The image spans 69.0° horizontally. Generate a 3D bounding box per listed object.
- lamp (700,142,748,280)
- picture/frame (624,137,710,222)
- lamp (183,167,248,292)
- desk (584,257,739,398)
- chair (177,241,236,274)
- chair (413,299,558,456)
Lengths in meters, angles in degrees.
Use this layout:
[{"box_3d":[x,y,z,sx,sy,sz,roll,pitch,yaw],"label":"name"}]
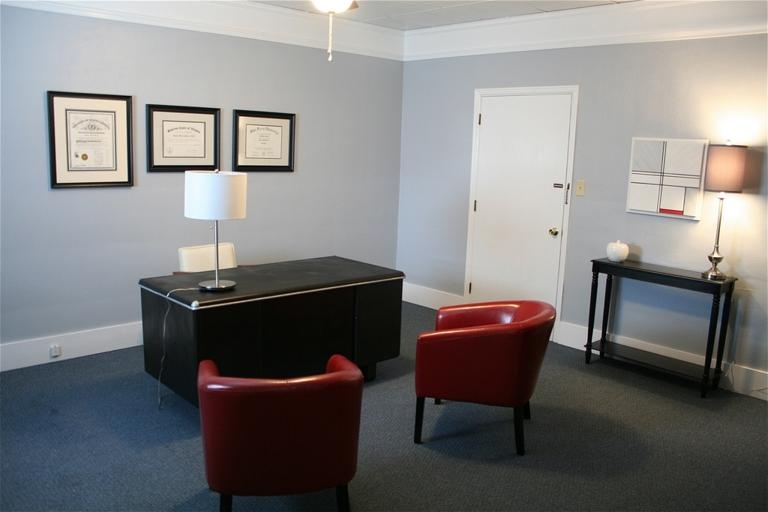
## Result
[{"box_3d":[2.925,-0.396,4.887,0.302,1.146,0.358,9,14,30],"label":"lamp"},{"box_3d":[2.613,-0.746,5.241,0.648,0.750,0.031,11,24,36],"label":"picture/frame"},{"box_3d":[-1.299,-0.236,4.473,0.436,0.904,0.655,0,13,-6],"label":"lamp"},{"box_3d":[2.610,0.675,5.184,0.310,0.899,1.031,-16,23,-41],"label":"desk"},{"box_3d":[-1.611,0.009,5.147,0.369,0.460,0.346,-4,7,-36],"label":"chair"},{"box_3d":[0.794,0.878,4.502,1.104,0.943,1.080,-1,7,5],"label":"chair"}]
